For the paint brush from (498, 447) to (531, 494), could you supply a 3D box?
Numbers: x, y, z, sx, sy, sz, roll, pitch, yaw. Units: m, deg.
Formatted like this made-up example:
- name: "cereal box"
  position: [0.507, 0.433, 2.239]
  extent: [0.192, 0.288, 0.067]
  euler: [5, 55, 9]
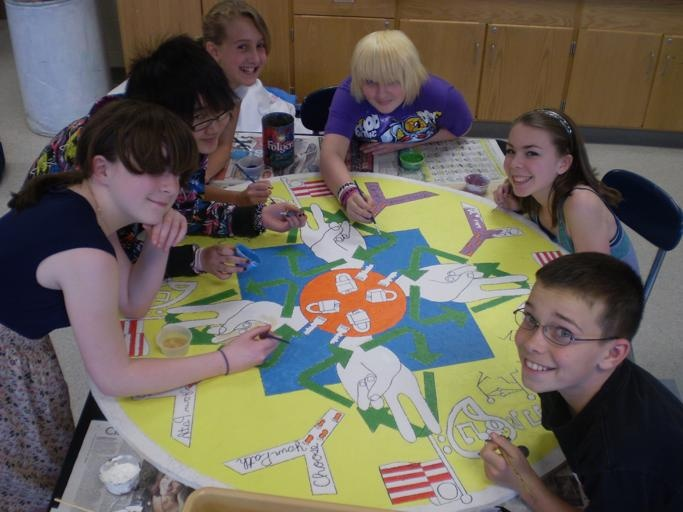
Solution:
- name: "paint brush"
  position: [0.521, 0.605, 1.551]
  extent: [0.040, 0.096, 0.110]
  euler: [-14, 55, -26]

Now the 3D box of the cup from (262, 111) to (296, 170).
- name: "cup"
  position: [-0.346, -0.587, 2.849]
  extent: [0.165, 0.255, 0.153]
  euler: [2, 32, -1]

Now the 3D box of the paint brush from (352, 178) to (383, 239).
- name: "paint brush"
  position: [0.111, -0.197, 2.399]
  extent: [0.033, 0.032, 0.318]
  euler: [6, 56, -57]

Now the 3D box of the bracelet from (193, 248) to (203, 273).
- name: "bracelet"
  position: [-0.563, 0.018, 2.096]
  extent: [0.036, 0.073, 0.055]
  euler: [0, 67, 1]

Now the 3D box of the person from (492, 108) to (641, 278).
- name: "person"
  position: [1.036, -0.169, 2.510]
  extent: [0.615, 1.043, 0.480]
  euler: [8, 19, 38]
